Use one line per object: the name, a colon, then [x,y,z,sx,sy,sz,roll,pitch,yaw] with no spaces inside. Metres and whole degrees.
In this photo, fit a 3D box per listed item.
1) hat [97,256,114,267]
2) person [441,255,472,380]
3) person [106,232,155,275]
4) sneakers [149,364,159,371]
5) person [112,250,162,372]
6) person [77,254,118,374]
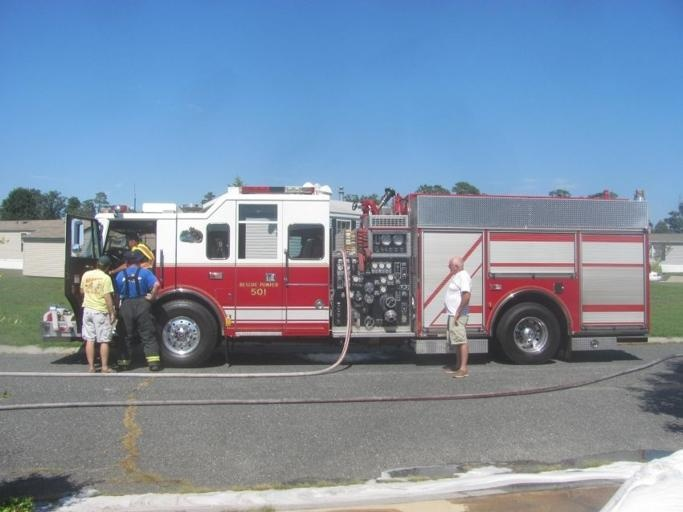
hat: [-3.937,0.053,12.026,0.224,0.173,0.310,18,8,-4]
person: [1.968,1.008,12.223,0.416,1.992,0.913,2,9,9]
person: [-3.685,-0.094,12.382,0.908,0.450,0.487,1,-6,-24]
sneakers: [-3.114,1.851,11.998,0.117,0.082,0.119,1,-6,-2]
person: [-3.449,0.933,12.084,0.966,2.002,0.579,7,11,37]
person: [-4.011,0.944,11.845,0.530,1.866,0.690,-3,9,-19]
